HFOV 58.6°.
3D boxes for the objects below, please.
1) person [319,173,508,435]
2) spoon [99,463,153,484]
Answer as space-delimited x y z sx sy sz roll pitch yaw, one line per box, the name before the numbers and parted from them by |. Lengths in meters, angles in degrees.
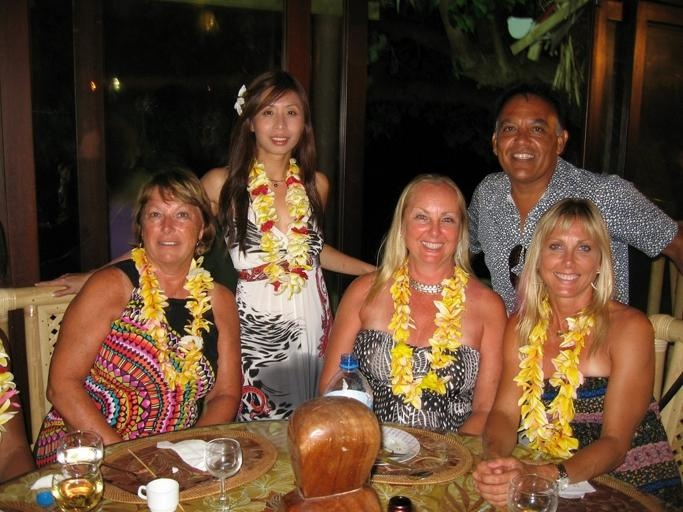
person | 0.369 0.285 3.037 0.922 1.272 0.803 4 13 10
spoon | -0.777 0.764 2.192 0.216 0.018 0.066 10 11 18
